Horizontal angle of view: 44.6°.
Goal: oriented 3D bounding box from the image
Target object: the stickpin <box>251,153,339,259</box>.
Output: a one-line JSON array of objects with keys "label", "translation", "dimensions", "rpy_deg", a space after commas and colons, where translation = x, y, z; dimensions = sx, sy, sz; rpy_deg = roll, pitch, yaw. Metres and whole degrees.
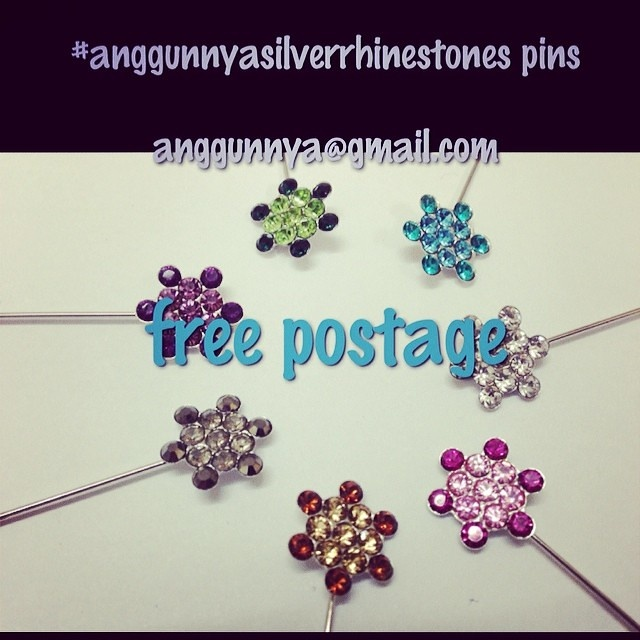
[{"label": "stickpin", "translation": [-0.078, -0.307, 2.105], "dimensions": [0.240, 0.021, 0.336], "rpy_deg": [-21, -45, -10]}]

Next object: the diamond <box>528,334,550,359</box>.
[{"label": "diamond", "translation": [0.597, 0.079, 2.136], "dimensions": [0.064, 0.042, 0.068], "rpy_deg": [3, -80, 0]}]

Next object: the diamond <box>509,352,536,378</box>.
[{"label": "diamond", "translation": [0.543, 0.127, 2.121], "dimensions": [0.066, 0.014, 0.063], "rpy_deg": [1, -80, 0]}]

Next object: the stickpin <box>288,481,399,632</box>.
[{"label": "stickpin", "translation": [0.060, 0.573, 2.001], "dimensions": [0.233, 0.059, 0.429], "rpy_deg": [11, -93, 2]}]

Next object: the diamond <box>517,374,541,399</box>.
[{"label": "diamond", "translation": [0.568, 0.182, 2.126], "dimensions": [0.060, 0.031, 0.064], "rpy_deg": [-22, -99, 1]}]

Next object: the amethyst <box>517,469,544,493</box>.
[{"label": "amethyst", "translation": [0.567, 0.431, 2.087], "dimensions": [0.059, 0.030, 0.063], "rpy_deg": [-5, -101, 0]}]

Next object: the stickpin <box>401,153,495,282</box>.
[{"label": "stickpin", "translation": [0.329, -0.316, 2.184], "dimensions": [0.221, 0.332, 0.014], "rpy_deg": [-14, -41, 20]}]

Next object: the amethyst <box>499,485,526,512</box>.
[{"label": "amethyst", "translation": [0.512, 0.479, 2.088], "dimensions": [0.065, 0.025, 0.069], "rpy_deg": [1, -80, 0]}]

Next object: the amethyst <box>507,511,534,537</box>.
[{"label": "amethyst", "translation": [0.534, 0.548, 2.080], "dimensions": [0.062, 0.031, 0.067], "rpy_deg": [-4, -97, 1]}]
